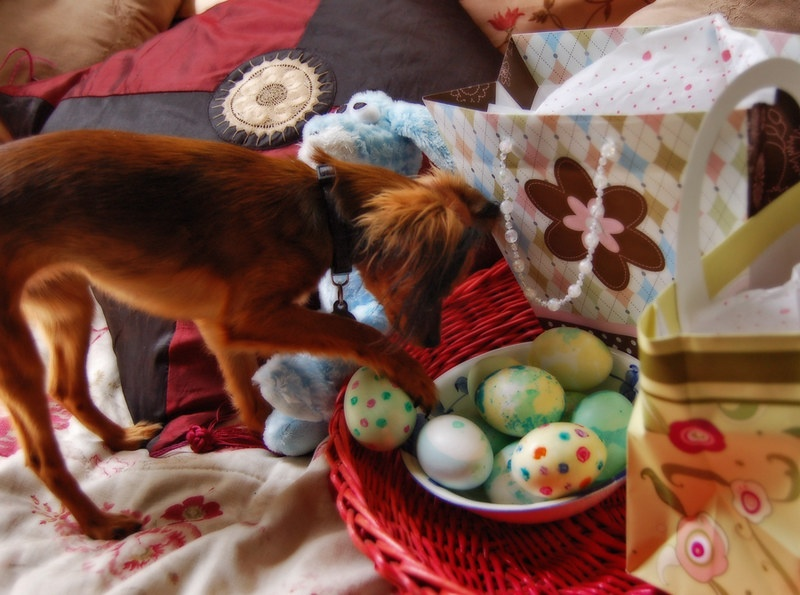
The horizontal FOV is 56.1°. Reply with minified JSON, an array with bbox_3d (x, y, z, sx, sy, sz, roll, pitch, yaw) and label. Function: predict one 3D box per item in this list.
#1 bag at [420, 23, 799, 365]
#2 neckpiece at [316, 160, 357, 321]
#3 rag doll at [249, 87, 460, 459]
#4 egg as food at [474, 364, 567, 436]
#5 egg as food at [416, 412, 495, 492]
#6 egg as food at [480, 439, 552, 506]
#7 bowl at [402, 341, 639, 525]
[{"bbox_3d":[0.358,-0.243,1.428,0.696,0.660,0.496,1,33,22],"label":"bag"},{"bbox_3d":[-0.099,-0.107,1.274,0.048,0.294,0.046,-1,17,-10],"label":"neckpiece"},{"bbox_3d":[-0.139,-0.090,1.562,0.448,0.633,0.299,6,21,-17],"label":"rag doll"},{"bbox_3d":[0.193,0.168,1.249,0.124,0.103,0.108,-2,66,17],"label":"egg as food"},{"bbox_3d":[0.084,0.243,1.245,0.117,0.101,0.095,27,44,33],"label":"egg as food"},{"bbox_3d":[0.180,0.288,1.215,0.087,0.097,0.050,-5,18,41],"label":"egg as food"},{"bbox_3d":[0.187,0.204,1.175,0.289,0.114,0.303,-18,25,8],"label":"bowl"}]
